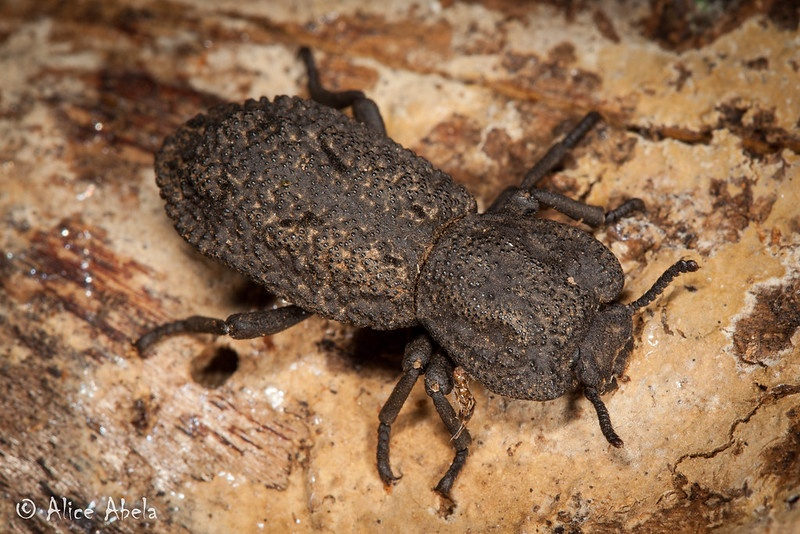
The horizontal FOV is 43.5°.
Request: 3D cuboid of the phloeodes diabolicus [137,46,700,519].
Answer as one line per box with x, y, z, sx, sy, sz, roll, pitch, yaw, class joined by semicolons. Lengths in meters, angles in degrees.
0.005;-0.034;7.549;3.707;0.525;1.639;25;84;6;phloeodes diabolicus
